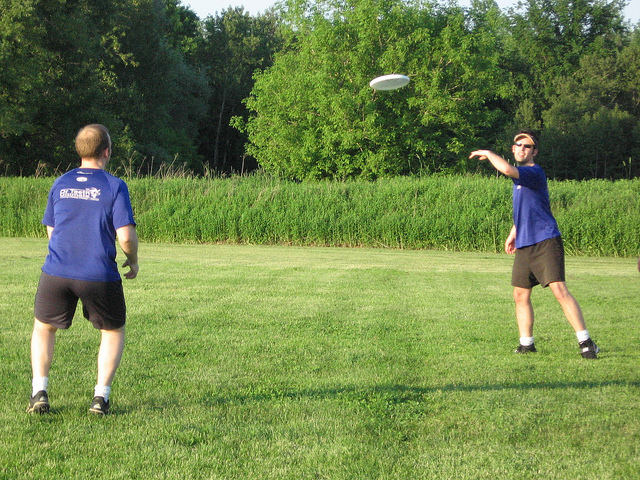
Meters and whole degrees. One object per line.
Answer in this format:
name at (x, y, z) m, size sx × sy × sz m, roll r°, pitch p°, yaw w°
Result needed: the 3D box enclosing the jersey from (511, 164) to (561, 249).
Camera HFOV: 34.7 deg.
jersey at (5.330, -0.851, 25.579) m, size 1.069 × 2.112 × 0.612 m, roll 0°, pitch 2°, yaw 13°
